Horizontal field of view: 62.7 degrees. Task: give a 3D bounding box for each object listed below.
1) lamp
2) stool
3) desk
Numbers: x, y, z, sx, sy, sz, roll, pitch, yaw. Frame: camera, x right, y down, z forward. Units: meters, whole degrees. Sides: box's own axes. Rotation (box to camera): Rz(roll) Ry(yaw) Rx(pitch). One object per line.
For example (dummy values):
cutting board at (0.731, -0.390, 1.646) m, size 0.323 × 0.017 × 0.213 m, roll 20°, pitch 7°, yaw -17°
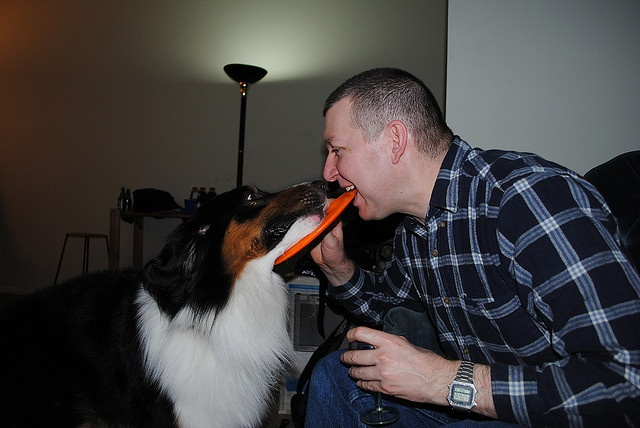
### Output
lamp at (-0.899, -1.138, 6.242) m, size 0.500 × 1.598 × 1.011 m, roll 1°, pitch -7°, yaw -9°
stool at (-3.229, 0.582, 6.885) m, size 0.506 × 0.600 × 0.572 m, roll 9°, pitch -2°, yaw -25°
desk at (-1.858, 0.304, 6.233) m, size 1.046 × 0.816 × 0.661 m, roll 1°, pitch 2°, yaw 4°
